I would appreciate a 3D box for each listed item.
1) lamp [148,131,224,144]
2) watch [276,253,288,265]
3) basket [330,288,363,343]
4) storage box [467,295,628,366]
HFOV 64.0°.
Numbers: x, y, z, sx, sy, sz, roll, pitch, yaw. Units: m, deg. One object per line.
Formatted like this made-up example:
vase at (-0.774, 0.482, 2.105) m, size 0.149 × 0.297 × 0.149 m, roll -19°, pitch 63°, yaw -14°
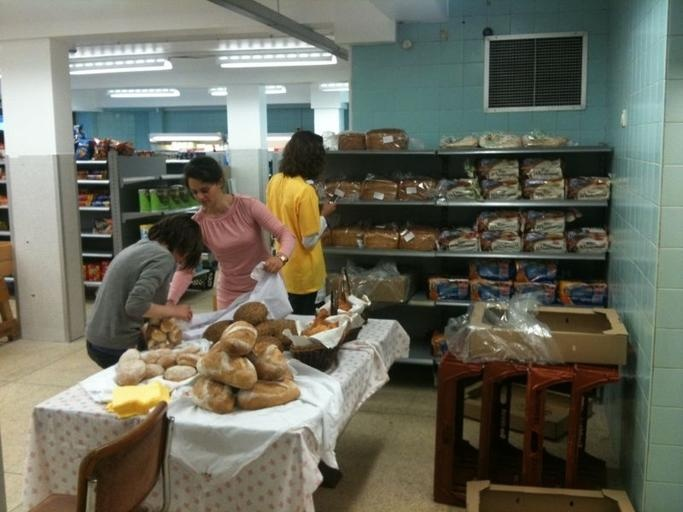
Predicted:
lamp at (-5.217, -3.990, 18.360) m, size 2.667 × 0.301 × 0.886 m, roll 1°, pitch 11°, yaw 11°
watch at (-0.386, 0.015, 3.530) m, size 0.068 × 0.051 × 0.075 m, roll 8°, pitch -2°, yaw 7°
basket at (0.012, 0.265, 3.049) m, size 0.142 × 0.065 × 0.188 m, roll 10°, pitch 41°, yaw 7°
storage box at (1.294, 0.468, 3.270) m, size 0.645 × 0.154 × 0.544 m, roll 3°, pitch 18°, yaw 17°
